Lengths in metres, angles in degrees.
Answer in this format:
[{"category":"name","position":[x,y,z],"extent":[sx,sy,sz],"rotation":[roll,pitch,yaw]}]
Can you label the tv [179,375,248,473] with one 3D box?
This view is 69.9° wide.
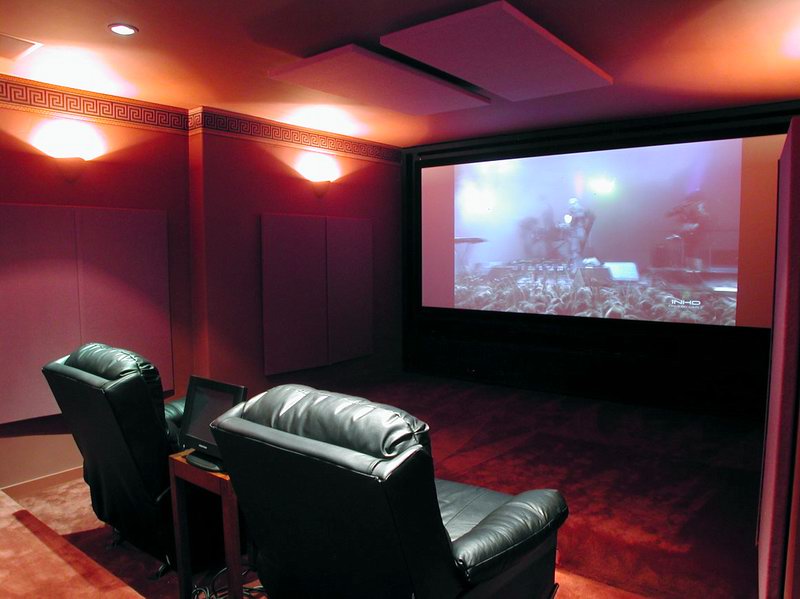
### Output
[{"category":"tv","position":[-0.903,0.597,2.774],"extent":[0.380,0.385,0.171],"rotation":[7,9,33]}]
